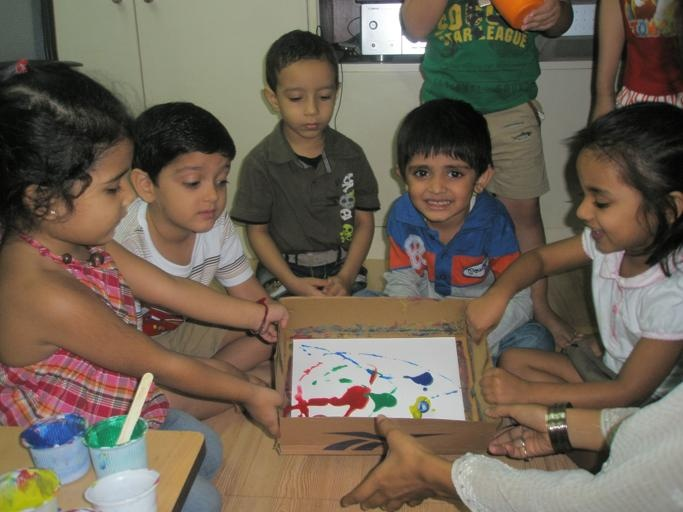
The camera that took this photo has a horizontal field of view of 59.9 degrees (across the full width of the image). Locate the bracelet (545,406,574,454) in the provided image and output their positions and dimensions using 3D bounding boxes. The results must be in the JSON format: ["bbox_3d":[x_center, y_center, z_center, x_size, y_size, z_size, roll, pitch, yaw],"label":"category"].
[{"bbox_3d":[0.518,0.409,1.416,0.038,0.094,0.074,-4,38,16],"label":"bracelet"}]

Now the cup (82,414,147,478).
[{"bbox_3d":[-0.396,0.341,1.076,0.098,0.084,0.106,-1,23,0],"label":"cup"}]

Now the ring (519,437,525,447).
[{"bbox_3d":[0.455,0.470,1.504,0.014,0.004,0.014,-29,38,26],"label":"ring"}]

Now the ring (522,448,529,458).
[{"bbox_3d":[0.466,0.500,1.515,0.015,0.021,0.022,-2,43,3],"label":"ring"}]

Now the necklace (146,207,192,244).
[{"bbox_3d":[-0.500,-0.082,1.741,0.098,0.076,0.109,1,21,-4],"label":"necklace"}]

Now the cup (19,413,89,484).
[{"bbox_3d":[-0.517,0.331,1.101,0.113,0.090,0.119,-5,12,1],"label":"cup"}]
